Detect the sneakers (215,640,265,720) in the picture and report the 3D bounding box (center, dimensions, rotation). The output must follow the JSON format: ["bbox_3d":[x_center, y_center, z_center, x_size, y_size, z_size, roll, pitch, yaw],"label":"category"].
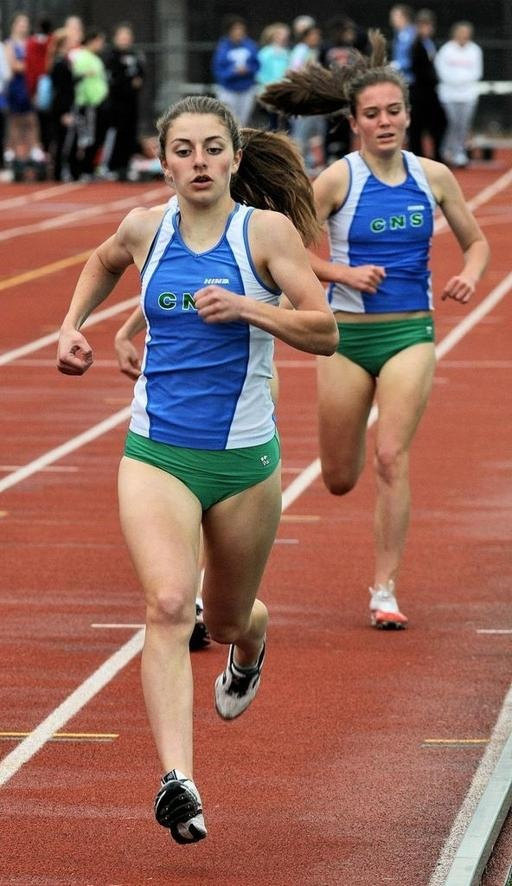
[{"bbox_3d":[-0.054,0.695,2.560,0.106,0.266,0.110,14,18,2],"label":"sneakers"}]

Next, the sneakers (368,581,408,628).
[{"bbox_3d":[0.547,0.679,3.680,0.145,0.186,0.124,-1,-1,7],"label":"sneakers"}]

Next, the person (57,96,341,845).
[{"bbox_3d":[-0.112,-0.026,1.952,0.607,1.483,0.902,-1,-1,-14],"label":"person"}]

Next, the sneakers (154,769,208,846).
[{"bbox_3d":[-0.117,0.641,1.555,0.070,0.147,0.075,-6,34,19],"label":"sneakers"}]
